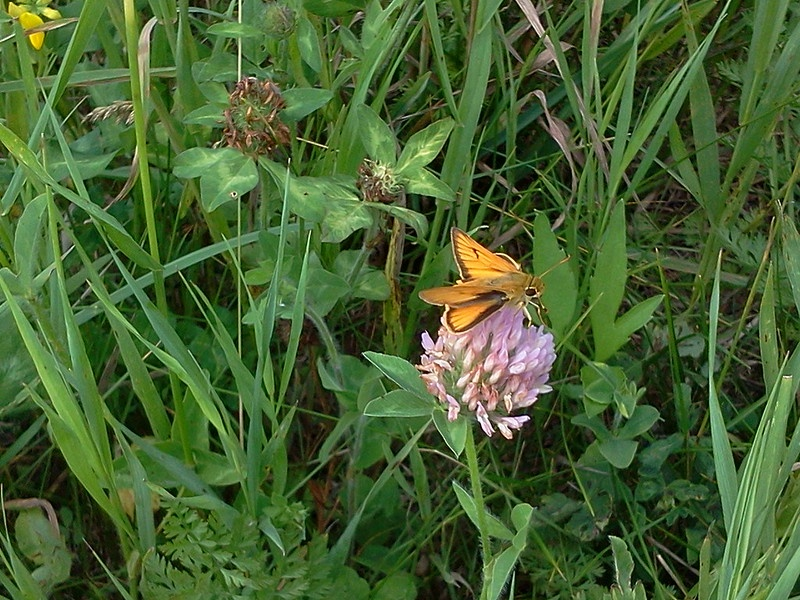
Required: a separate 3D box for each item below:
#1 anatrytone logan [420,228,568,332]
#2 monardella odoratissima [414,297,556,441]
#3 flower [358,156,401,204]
[{"bbox_3d":[0.242,-0.041,2.047,0.327,0.363,0.275,-9,21,-31],"label":"anatrytone logan"},{"bbox_3d":[0.233,0.201,1.992,0.395,0.214,0.334,-31,48,-33],"label":"monardella odoratissima"},{"bbox_3d":[-0.074,-0.349,2.273,0.148,0.125,0.093,18,39,21],"label":"flower"}]
